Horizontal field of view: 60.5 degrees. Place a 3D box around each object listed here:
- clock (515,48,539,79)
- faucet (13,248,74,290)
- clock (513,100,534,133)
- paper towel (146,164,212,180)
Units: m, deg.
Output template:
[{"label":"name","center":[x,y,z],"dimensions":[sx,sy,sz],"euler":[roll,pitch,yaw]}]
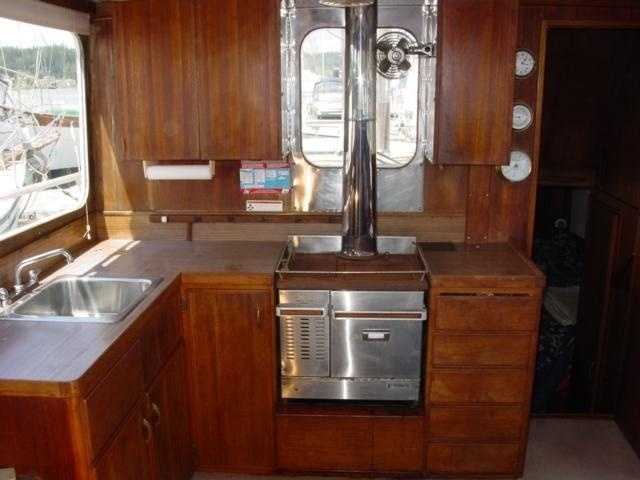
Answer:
[{"label":"clock","center":[1.256,-1.065,3.360],"dimensions":[0.167,0.184,0.040],"euler":[-2,14,0]},{"label":"faucet","center":[-1.465,0.155,2.888],"dimensions":[0.316,0.209,0.105],"euler":[-8,26,-28]},{"label":"clock","center":[1.262,-0.762,3.416],"dimensions":[0.171,0.188,0.042],"euler":[-3,10,-1]},{"label":"paper towel","center":[-0.878,-0.424,3.425],"dimensions":[0.253,0.119,0.071],"euler":[1,18,1]}]
